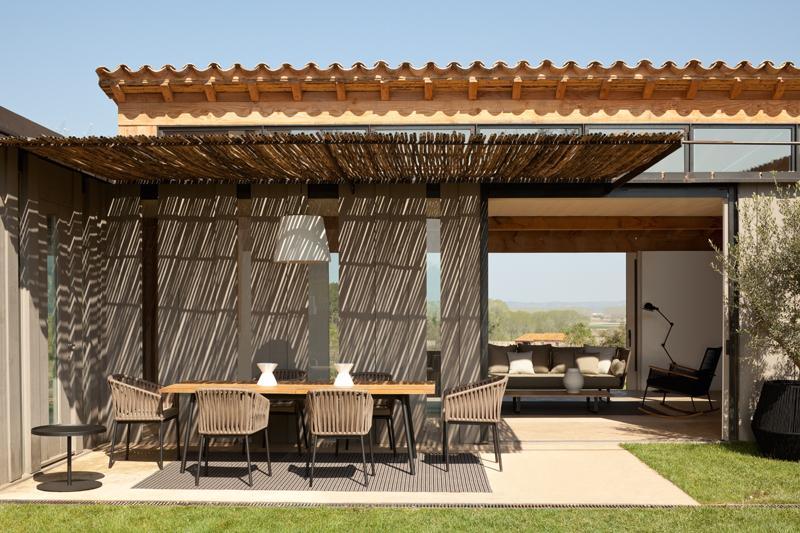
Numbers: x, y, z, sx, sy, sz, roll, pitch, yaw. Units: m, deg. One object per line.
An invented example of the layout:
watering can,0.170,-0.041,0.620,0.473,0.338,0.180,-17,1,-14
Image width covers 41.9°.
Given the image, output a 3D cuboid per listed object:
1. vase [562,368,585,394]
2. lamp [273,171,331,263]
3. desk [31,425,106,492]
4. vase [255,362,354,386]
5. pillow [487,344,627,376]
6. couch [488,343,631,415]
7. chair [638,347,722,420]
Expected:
vase,3.117,2.035,18.455,0.394,0.438,0.390,-1,-5,1
lamp,-1.402,-0.449,15.372,0.740,0.568,0.725,-1,-6,5
desk,-4.636,2.683,14.924,0.893,0.994,0.896,3,4,-1
vase,-1.272,1.629,15.471,1.823,0.532,0.482,-2,-5,2
pillow,2.917,1.741,19.221,2.862,0.734,0.997,2,-1,-1
couch,2.914,2.044,19.761,2.731,1.230,2.108,0,-4,1
chair,5.096,1.988,18.618,1.224,1.085,0.907,2,1,31
